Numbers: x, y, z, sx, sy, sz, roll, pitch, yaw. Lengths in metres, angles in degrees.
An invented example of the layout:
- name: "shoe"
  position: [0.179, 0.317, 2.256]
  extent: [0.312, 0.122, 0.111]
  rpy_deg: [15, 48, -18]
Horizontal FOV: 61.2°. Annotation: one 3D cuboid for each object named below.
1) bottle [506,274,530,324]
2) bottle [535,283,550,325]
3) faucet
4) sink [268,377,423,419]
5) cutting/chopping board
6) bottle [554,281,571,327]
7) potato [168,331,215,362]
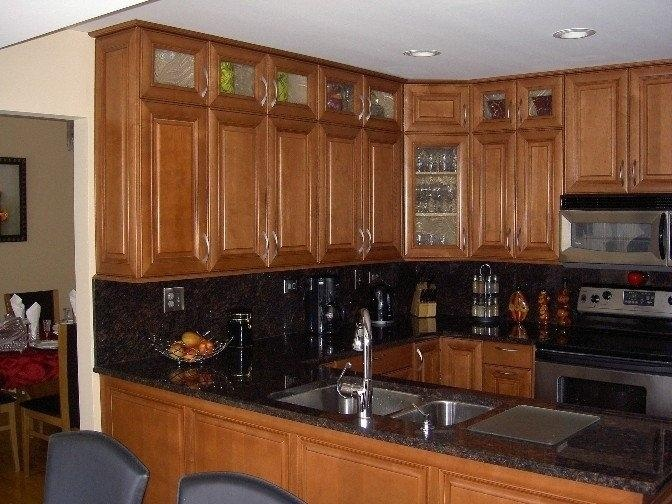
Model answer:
- name: "bottle"
  position: [1.425, 0.388, 4.437]
  extent: [0.133, 0.353, 0.125]
  rpy_deg: [-2, 12, 0]
- name: "bottle"
  position: [1.581, 0.424, 4.331]
  extent: [0.107, 0.278, 0.199]
  rpy_deg: [1, 3, 18]
- name: "faucet"
  position: [0.097, 0.503, 2.486]
  extent: [0.092, 0.464, 0.191]
  rpy_deg: [10, -10, -32]
- name: "sink"
  position: [0.096, 0.725, 2.728]
  extent: [0.402, 0.146, 0.324]
  rpy_deg: [1, 3, 44]
- name: "cutting/chopping board"
  position: [0.774, 0.671, 2.207]
  extent: [0.477, 0.017, 0.320]
  rpy_deg: [-3, 5, -43]
- name: "bottle"
  position: [1.719, 0.405, 4.287]
  extent: [0.109, 0.313, 0.111]
  rpy_deg: [0, 3, 0]
- name: "potato"
  position: [-0.794, 0.504, 3.156]
  extent: [0.174, 0.102, 0.196]
  rpy_deg: [2, 3, 23]
